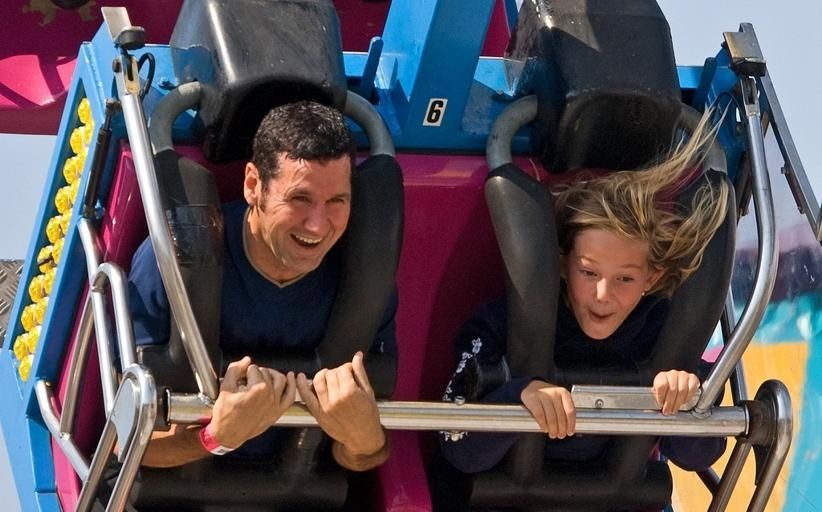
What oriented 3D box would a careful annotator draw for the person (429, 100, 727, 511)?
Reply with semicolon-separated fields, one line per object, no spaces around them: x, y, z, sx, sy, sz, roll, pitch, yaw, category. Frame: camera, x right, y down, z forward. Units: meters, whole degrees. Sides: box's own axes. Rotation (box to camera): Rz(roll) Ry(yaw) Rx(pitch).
0.528;0.200;2.720;0.860;1.175;0.615;0;12;-4;person

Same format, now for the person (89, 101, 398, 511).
-0.414;0.178;2.611;0.757;1.175;0.621;0;12;-3;person

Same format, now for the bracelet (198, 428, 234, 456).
-0.494;0.464;2.435;0.085;0.036;0.070;52;14;23;bracelet
